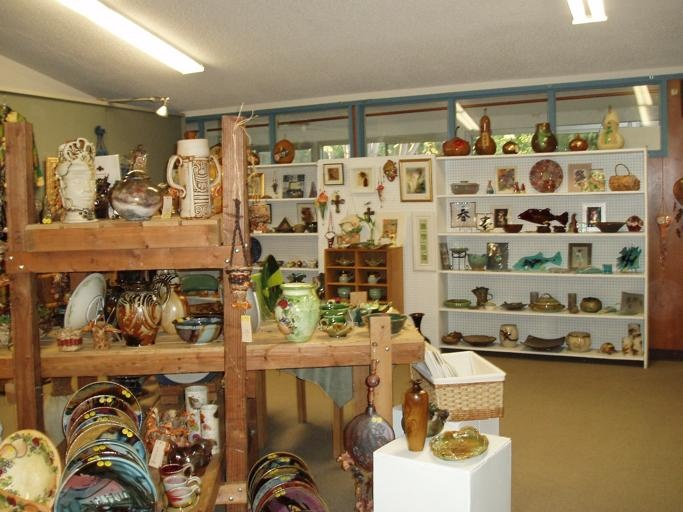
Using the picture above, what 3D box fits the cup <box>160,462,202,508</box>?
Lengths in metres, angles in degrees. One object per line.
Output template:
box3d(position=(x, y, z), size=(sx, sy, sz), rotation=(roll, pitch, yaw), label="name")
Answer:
box3d(position=(-0.764, 1.089, 2.518), size=(0.131, 0.116, 0.188), rotation=(-2, -7, 15), label="cup")

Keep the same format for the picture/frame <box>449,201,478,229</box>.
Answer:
box3d(position=(1.560, -0.528, 6.789), size=(0.401, 0.342, 0.038), rotation=(2, 6, 20), label="picture/frame")

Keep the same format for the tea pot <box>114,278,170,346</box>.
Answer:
box3d(position=(-1.030, 0.294, 2.732), size=(0.272, 0.307, 0.342), rotation=(-2, -3, 24), label="tea pot")

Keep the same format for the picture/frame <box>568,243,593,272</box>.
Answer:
box3d(position=(2.858, 0.017, 6.366), size=(0.402, 0.459, 0.037), rotation=(1, 1, 10), label="picture/frame")

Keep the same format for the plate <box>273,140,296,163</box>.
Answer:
box3d(position=(-0.808, -1.464, 7.533), size=(0.356, 0.308, 0.120), rotation=(16, 10, 13), label="plate")

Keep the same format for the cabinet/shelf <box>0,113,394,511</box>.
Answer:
box3d(position=(-0.541, 0.058, 4.132), size=(1.998, 2.970, 1.701), rotation=(-1, 5, 5), label="cabinet/shelf")

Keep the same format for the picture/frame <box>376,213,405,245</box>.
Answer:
box3d(position=(0.630, -0.337, 6.736), size=(0.474, 0.472, 0.036), rotation=(0, -3, 23), label="picture/frame")

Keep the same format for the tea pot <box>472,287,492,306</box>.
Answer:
box3d(position=(1.761, 0.510, 6.771), size=(0.277, 0.226, 0.230), rotation=(1, 1, 17), label="tea pot")

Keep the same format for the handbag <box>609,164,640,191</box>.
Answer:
box3d(position=(3.212, -0.884, 6.049), size=(0.364, 0.311, 0.203), rotation=(1, 7, 29), label="handbag")

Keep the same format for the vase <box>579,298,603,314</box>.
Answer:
box3d(position=(2.898, 0.565, 6.223), size=(0.205, 0.171, 0.189), rotation=(3, 8, 37), label="vase")

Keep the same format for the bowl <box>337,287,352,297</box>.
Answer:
box3d(position=(0.030, 0.448, 6.668), size=(0.209, 0.135, 0.192), rotation=(0, -4, 0), label="bowl")

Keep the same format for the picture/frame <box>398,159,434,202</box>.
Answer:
box3d(position=(0.946, -0.954, 6.632), size=(0.640, 0.667, 0.059), rotation=(0, 3, 18), label="picture/frame")

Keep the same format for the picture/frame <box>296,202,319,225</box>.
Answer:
box3d(position=(-0.470, -0.603, 7.519), size=(0.404, 0.416, 0.062), rotation=(1, 3, 14), label="picture/frame")

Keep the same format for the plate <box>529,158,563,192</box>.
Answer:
box3d(position=(2.463, -0.968, 6.415), size=(0.388, 0.395, 0.192), rotation=(0, 7, 16), label="plate")

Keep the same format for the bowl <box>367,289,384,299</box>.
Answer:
box3d(position=(0.416, 0.456, 6.531), size=(0.149, 0.097, 0.142), rotation=(2, 4, 0), label="bowl")

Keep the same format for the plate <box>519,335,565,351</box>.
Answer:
box3d(position=(2.440, 1.044, 6.428), size=(0.461, 0.129, 0.361), rotation=(0, 6, 20), label="plate")

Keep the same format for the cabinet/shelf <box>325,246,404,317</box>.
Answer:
box3d(position=(0.284, 0.246, 5.773), size=(0.965, 0.750, 0.313), rotation=(2, 3, 15), label="cabinet/shelf")

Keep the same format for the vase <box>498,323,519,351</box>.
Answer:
box3d(position=(1.999, 0.970, 6.413), size=(0.289, 0.254, 0.267), rotation=(2, -1, 9), label="vase")

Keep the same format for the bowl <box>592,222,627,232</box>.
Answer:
box3d(position=(3.039, -0.328, 6.055), size=(0.280, 0.126, 0.196), rotation=(-1, 6, 5), label="bowl")

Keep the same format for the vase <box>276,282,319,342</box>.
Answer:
box3d(position=(-0.222, 0.289, 2.715), size=(0.312, 0.312, 0.285), rotation=(0, -3, -2), label="vase")

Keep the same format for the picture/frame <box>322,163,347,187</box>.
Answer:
box3d(position=(-0.081, -1.068, 6.984), size=(0.364, 0.295, 0.034), rotation=(2, 0, 12), label="picture/frame")

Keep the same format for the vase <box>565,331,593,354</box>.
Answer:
box3d(position=(2.750, 0.994, 6.189), size=(0.269, 0.168, 0.252), rotation=(0, -3, -29), label="vase")

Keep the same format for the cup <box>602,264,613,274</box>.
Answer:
box3d(position=(3.106, 0.151, 6.232), size=(0.144, 0.106, 0.110), rotation=(1, 1, 27), label="cup")
